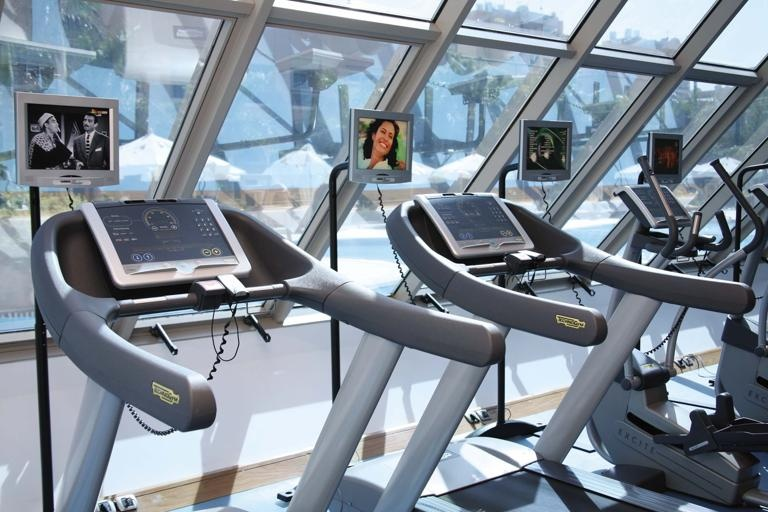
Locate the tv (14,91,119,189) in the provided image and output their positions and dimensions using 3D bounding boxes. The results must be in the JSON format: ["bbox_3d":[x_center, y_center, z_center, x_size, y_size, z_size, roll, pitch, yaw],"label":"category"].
[{"bbox_3d":[-1.568,-0.561,2.893,0.494,0.478,0.066,-1,8,-16],"label":"tv"}]

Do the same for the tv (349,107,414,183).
[{"bbox_3d":[-0.026,-0.671,3.645,0.451,0.453,0.289,-1,6,-29],"label":"tv"}]

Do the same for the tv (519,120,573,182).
[{"bbox_3d":[1.123,-0.727,4.112,0.440,0.465,0.076,1,4,-21],"label":"tv"}]

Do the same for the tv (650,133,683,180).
[{"bbox_3d":[2.162,-0.756,4.522,0.457,0.518,0.071,-2,2,-36],"label":"tv"}]
